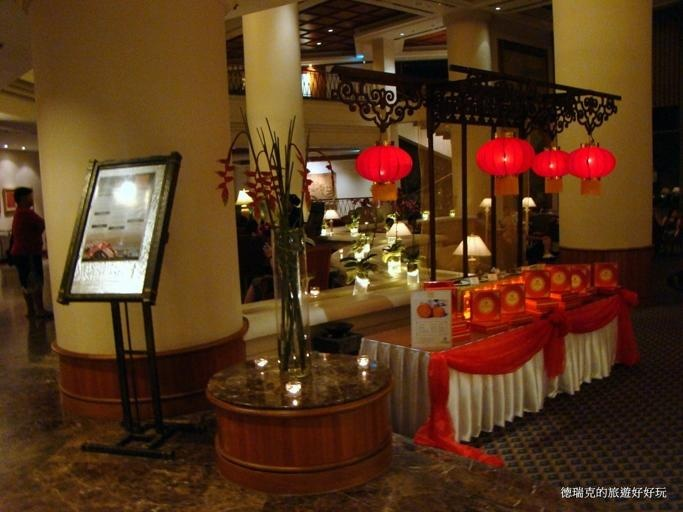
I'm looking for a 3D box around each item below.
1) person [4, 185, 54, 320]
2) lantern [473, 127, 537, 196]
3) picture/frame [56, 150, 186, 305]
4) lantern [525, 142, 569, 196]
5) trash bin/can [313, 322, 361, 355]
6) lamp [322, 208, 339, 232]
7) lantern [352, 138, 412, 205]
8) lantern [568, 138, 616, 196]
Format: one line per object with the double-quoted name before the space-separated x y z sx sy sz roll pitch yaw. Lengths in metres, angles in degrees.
"person" -4.278 -0.032 7.332 0.447 1.782 0.811 -3 7 -33
"lantern" 1.623 -0.903 5.293 0.501 0.582 0.528 3 7 26
"picture/frame" -1.527 -0.197 3.711 0.753 1.032 0.421 2 6 16
"lantern" 2.277 -0.929 5.774 0.501 0.681 0.541 -5 11 10
"trash bin/can" -0.061 0.836 5.326 0.345 0.240 0.364 2 5 29
"lamp" -0.205 -0.847 12.836 0.471 0.560 0.500 -2 6 -10
"lantern" 0.370 -0.802 5.094 0.482 0.633 0.510 -3 4 -13
"lantern" 2.789 -0.977 5.979 0.505 0.568 0.267 -2 6 -17
